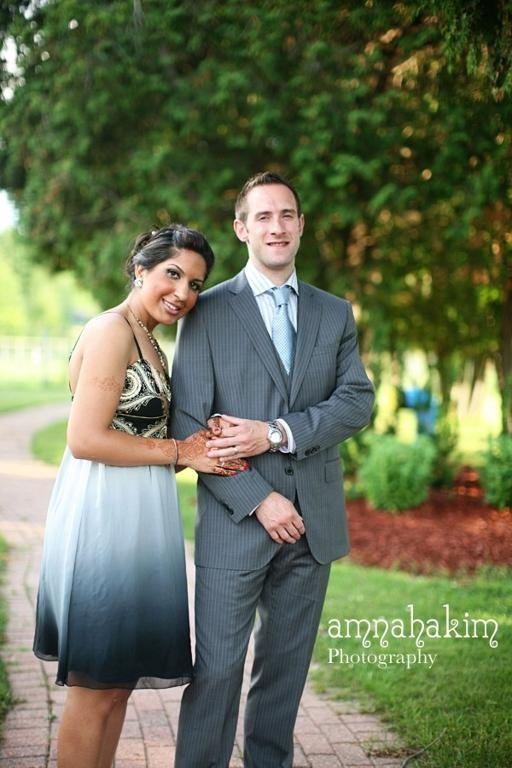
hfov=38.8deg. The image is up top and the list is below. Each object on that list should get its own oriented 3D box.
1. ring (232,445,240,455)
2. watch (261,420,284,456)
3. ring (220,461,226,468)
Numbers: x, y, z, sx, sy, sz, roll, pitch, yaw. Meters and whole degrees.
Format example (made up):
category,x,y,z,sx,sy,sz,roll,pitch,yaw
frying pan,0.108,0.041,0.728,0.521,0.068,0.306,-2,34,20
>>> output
category,x,y,z,sx,sy,sz,roll,pitch,yaw
ring,-0.068,0.215,2.371,0.023,0.023,0.027,7,-15,-4
watch,0.062,0.176,2.389,0.070,0.094,0.095,-13,10,-23
ring,-0.112,0.264,2.396,0.019,0.022,0.007,10,23,29
